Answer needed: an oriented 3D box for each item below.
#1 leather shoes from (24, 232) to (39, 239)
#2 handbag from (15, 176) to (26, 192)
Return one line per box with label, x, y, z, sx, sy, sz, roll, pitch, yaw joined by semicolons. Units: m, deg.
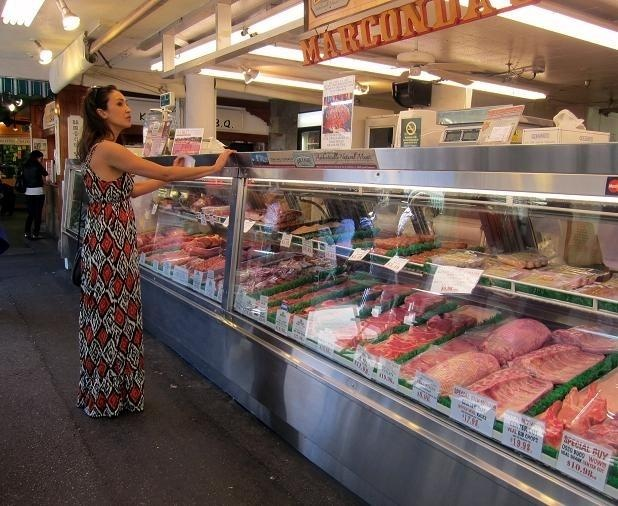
leather shoes;-6.528;-0.424;9.585;0.145;0.158;0.414;-8;14;-42
handbag;-6.734;-1.614;9.487;0.191;0.362;0.603;-8;14;-35
